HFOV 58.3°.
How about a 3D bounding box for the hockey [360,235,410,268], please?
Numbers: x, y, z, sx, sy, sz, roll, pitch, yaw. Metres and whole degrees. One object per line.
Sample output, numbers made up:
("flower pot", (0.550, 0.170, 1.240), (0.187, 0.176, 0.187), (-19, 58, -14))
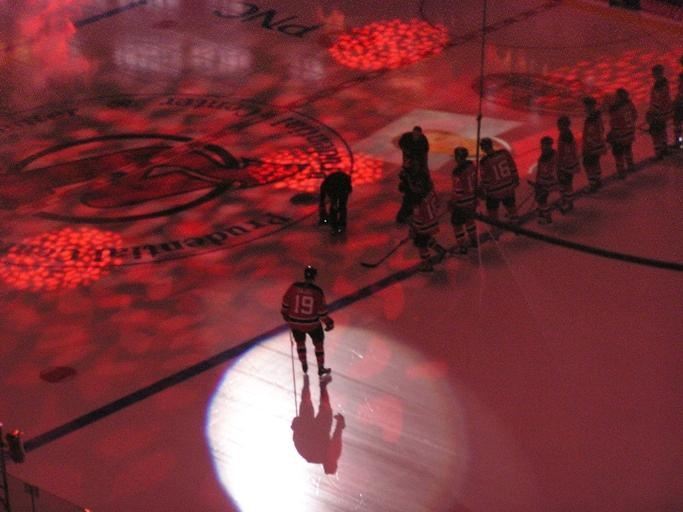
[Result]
("hockey", (0.782, -0.053, 11.250), (0.196, 1.019, 0.076), (45, -32, 25))

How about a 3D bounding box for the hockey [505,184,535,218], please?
("hockey", (3.659, -1.084, 12.344), (0.370, 1.333, 0.185), (14, -53, 36))

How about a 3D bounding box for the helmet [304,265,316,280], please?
("helmet", (-0.501, 0.250, 8.741), (0.199, 0.204, 0.190), (7, -67, 16))
